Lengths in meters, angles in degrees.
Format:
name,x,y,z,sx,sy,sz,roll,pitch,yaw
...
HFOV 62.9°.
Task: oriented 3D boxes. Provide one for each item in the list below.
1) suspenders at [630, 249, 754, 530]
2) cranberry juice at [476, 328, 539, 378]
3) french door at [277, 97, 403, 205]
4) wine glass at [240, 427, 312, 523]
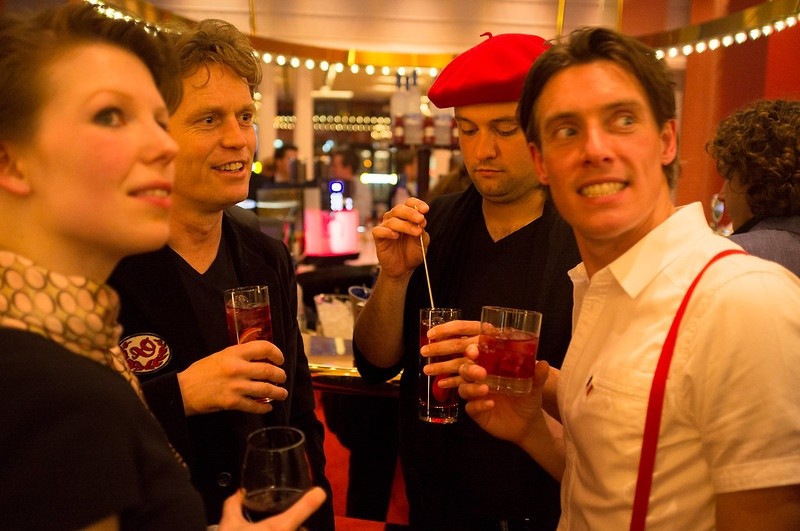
name,x,y,z,sx,sy,sz,roll,pitch,yaw
suspenders,0.799,0.348,1.839,0.338,0.775,0.049,-3,5,-11
cranberry juice,0.343,0.280,2.101,0.168,0.120,0.161,3,5,5
french door,-2.438,-5.682,26.816,5.702,5.308,1.405,1,5,10
wine glass,-0.326,0.534,1.745,0.213,0.284,0.217,-1,-5,-8
